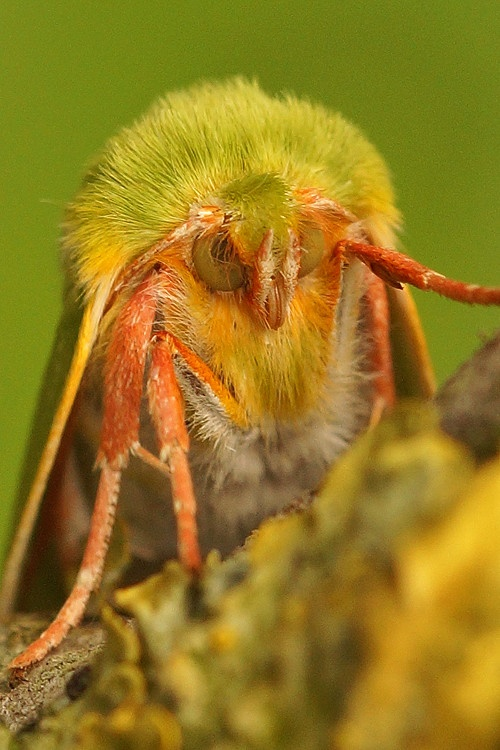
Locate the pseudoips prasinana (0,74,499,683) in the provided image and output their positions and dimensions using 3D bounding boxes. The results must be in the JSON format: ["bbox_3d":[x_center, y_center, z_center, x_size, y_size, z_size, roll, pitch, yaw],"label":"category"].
[{"bbox_3d":[-0.028,0.011,0.556,0.348,0.399,0.233,-14,24,-19],"label":"pseudoips prasinana"}]
